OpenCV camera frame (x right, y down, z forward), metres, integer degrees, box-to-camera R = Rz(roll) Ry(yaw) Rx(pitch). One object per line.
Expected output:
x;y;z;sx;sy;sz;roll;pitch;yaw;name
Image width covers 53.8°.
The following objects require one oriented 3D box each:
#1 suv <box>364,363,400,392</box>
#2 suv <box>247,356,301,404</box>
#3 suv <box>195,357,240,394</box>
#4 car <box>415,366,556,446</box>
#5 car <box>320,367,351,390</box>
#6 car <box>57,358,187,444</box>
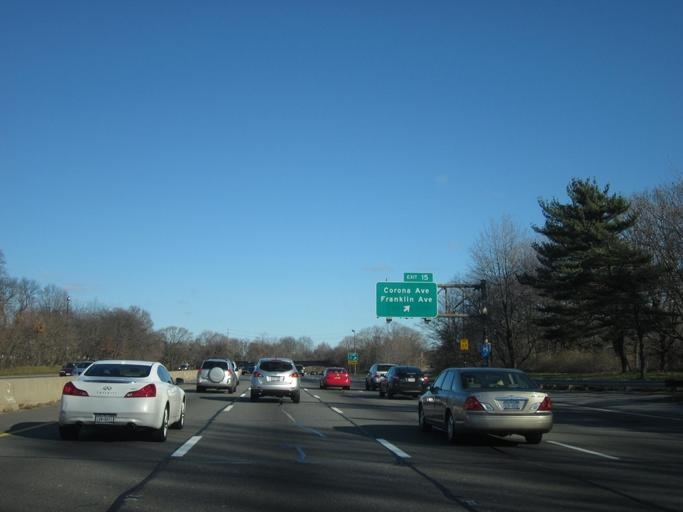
2.582;8.045;44.908;1.388;1.277;3.072;1;-4;-6;suv
-2.736;5.140;28.135;1.937;1.780;1.094;1;-10;-5;suv
-6.709;6.653;37.083;1.414;1.327;2.710;0;-3;-2;suv
3.391;3.654;16.725;1.909;1.821;3.252;7;-13;-31;car
-0.372;8.681;47.567;1.235;1.089;2.279;0;-1;-3;car
-5.016;3.303;15.898;1.488;1.138;3.052;0;-12;0;car
